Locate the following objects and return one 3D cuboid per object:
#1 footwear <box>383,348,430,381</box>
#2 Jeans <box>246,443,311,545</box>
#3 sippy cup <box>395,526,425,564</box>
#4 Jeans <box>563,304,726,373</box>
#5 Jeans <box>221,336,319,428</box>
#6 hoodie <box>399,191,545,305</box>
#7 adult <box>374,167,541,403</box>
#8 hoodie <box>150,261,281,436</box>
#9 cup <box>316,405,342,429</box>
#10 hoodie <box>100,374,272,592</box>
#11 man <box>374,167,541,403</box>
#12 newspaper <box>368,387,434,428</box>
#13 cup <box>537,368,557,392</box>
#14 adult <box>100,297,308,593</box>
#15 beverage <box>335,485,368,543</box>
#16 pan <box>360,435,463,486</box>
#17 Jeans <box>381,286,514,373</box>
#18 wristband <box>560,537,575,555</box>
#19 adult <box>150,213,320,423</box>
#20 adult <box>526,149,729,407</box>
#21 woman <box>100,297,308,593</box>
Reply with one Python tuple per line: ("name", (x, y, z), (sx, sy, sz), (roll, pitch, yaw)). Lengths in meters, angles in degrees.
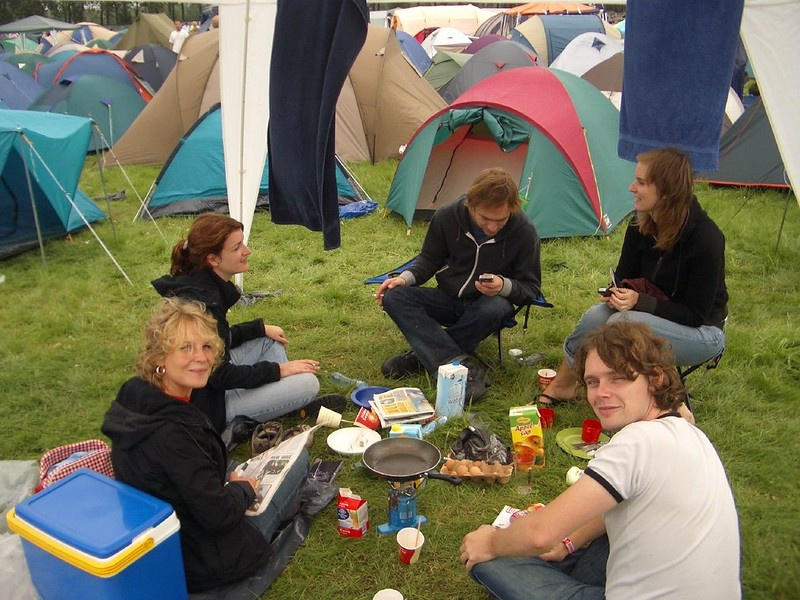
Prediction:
("footwear", (0.068, 0.454, 4.541), (0.364, 0.130, 0.162), (-9, -12, -21))
("Jeans", (-0.585, 0.939, 3.157), (0.327, 0.126, 0.325), (-51, 4, -9))
("sippy cup", (0.046, 1.158, 3.078), (0.149, 0.113, 0.143), (0, 19, 0))
("Jeans", (1.477, 0.210, 3.764), (0.754, 0.313, 0.556), (-6, 0, 6))
("Jeans", (-0.876, 0.458, 4.062), (0.495, 0.158, 0.552), (-23, 2, 30))
("hoodie", (0.521, -0.325, 4.533), (0.968, 0.705, 0.583), (11, 20, 11))
("adult", (0.437, -0.181, 4.443), (1.061, 1.411, 0.951), (-7, 23, -24))
("hoodie", (-1.079, 0.185, 4.011), (0.942, 1.108, 0.847), (-5, 33, -23))
("cup", (-0.433, 0.712, 3.959), (0.136, 0.126, 0.126), (5, -6, 1))
("hoodie", (-0.948, 0.832, 2.862), (0.536, 0.784, 0.677), (-16, 30, -33))
("man", (0.416, -0.175, 4.418), (1.121, 1.404, 0.969), (-5, 22, -20))
("newspaper", (0.012, 0.655, 3.974), (0.345, 0.111, 0.291), (-14, 27, -23))
("cup", (0.963, 0.524, 4.298), (0.127, 0.095, 0.124), (-2, 27, 1))
("adult", (-1.004, 0.484, 3.599), (1.151, 1.740, 1.069), (-8, 18, -30))
("beverage", (-0.233, 1.064, 3.227), (0.162, 0.209, 0.146), (-2, 10, 0))
("pan", (0.017, 0.862, 3.532), (0.406, 0.060, 0.275), (16, 23, 32))
("Jeans", (0.303, 0.158, 4.373), (0.652, 0.341, 0.714), (7, 29, 31))
("wristband", (0.738, 1.072, 2.836), (0.054, 0.080, 0.077), (-13, 46, -6))
("adult", (-0.957, 0.114, 4.053), (1.111, 1.245, 0.892), (-2, 14, -17))
("adult", (1.417, -0.073, 3.957), (1.339, 1.630, 0.722), (-5, 20, -8))
("woman", (-1.189, 0.481, 3.486), (1.151, 1.740, 1.069), (-8, 18, -30))
